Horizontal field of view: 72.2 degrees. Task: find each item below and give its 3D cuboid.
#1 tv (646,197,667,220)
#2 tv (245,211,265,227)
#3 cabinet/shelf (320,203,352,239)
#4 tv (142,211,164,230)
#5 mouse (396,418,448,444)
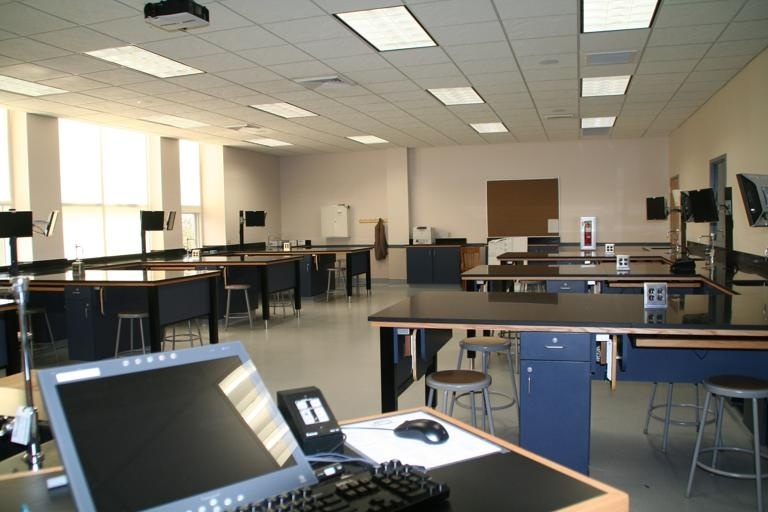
[{"bbox_3d":[4.346,-0.731,8.279,0.106,0.386,0.425,2,-1,-15],"label":"tv"},{"bbox_3d":[-2.651,-0.768,10.805,0.385,0.285,0.346,-3,3,-11],"label":"tv"},{"bbox_3d":[-1.173,-0.881,13.170,0.998,1.013,0.421,0,0,20],"label":"cabinet/shelf"},{"bbox_3d":[-3.639,-0.543,8.265,0.073,0.268,0.314,5,3,43],"label":"tv"},{"bbox_3d":[0.142,0.662,2.020,0.147,0.044,0.085,2,-1,29],"label":"mouse"}]
